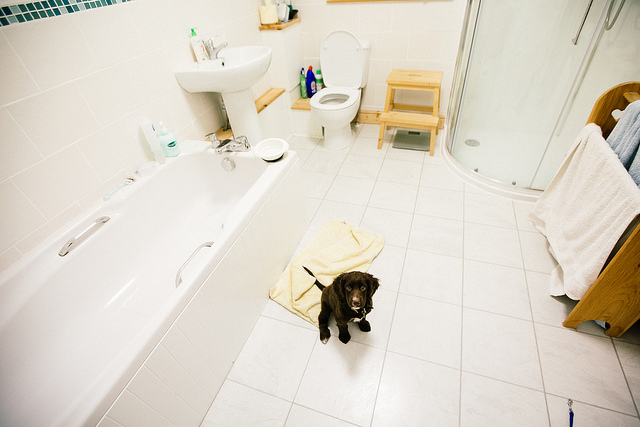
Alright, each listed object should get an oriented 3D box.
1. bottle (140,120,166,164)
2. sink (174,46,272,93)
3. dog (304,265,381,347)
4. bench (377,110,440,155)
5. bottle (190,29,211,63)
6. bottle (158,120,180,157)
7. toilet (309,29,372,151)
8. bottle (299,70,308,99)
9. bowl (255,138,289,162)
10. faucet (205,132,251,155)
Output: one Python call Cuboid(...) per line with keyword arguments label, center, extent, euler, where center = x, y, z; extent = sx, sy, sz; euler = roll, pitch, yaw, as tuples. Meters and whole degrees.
Cuboid(label="bottle", center=(-1.172, -0.515, 2.628), extent=(0.086, 0.283, 0.204), euler=(-22, 44, -19))
Cuboid(label="sink", center=(-0.676, -1.084, 2.903), extent=(0.521, 0.252, 0.662), euler=(18, 46, 22))
Cuboid(label="dog", center=(0.094, 0.418, 2.332), extent=(0.245, 0.375, 0.645), euler=(-11, 44, -10))
Cuboid(label="bench", center=(0.821, -0.712, 3.587), extent=(0.567, 0.339, 0.409), euler=(8, 7, 7))
Cuboid(label="bottle", center=(-0.906, -1.253, 2.822), extent=(0.097, 0.213, 0.080), euler=(-22, 44, -20))
Cuboid(label="bottle", center=(-1.119, -0.547, 2.706), extent=(0.153, 0.283, 0.149), euler=(6, 20, -2))
Cuboid(label="toilet", center=(0.202, -1.166, 3.595), extent=(0.538, 0.969, 0.733), euler=(2, 41, 7))
Cuboid(label="bottle", center=(-0.172, -1.329, 3.885), extent=(0.080, 0.245, 0.137), euler=(-9, 41, -6))
Cuboid(label="bowl", center=(-0.339, -0.448, 2.630), extent=(0.179, 0.044, 0.176), euler=(-2, 43, 2))
Cuboid(label="faucet", center=(-0.649, -0.513, 2.718), extent=(0.232, 0.123, 0.152), euler=(-5, 34, -5))
